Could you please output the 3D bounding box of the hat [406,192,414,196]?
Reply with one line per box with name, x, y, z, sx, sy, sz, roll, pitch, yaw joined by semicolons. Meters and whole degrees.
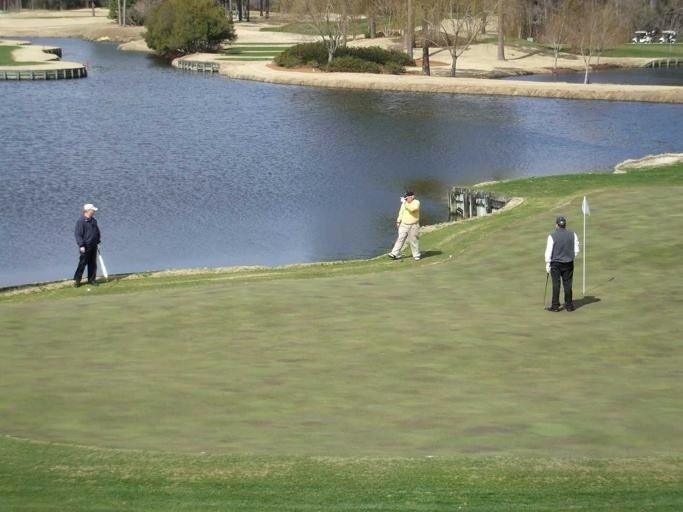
hat;4.669;-4.377;130.035;0.382;0.179;0.444;1;7;-1
